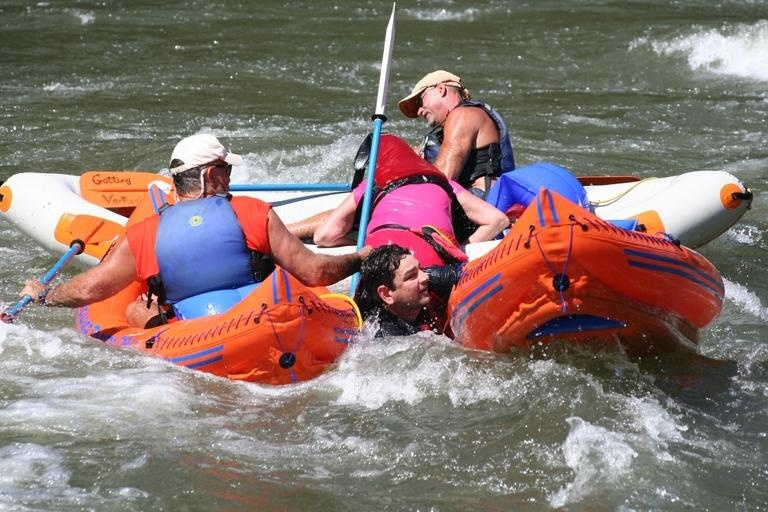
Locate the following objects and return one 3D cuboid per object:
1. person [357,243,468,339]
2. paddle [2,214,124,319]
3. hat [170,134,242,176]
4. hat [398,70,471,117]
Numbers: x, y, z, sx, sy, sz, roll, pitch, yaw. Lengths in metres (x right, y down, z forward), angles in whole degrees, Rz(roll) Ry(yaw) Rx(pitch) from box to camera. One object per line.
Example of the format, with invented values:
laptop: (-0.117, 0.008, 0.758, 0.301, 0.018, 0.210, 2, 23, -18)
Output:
person: (0.174, 0.312, 9.549, 0.780, 0.892, 0.317, 6, 53, 0)
paddle: (-3.035, 0.103, 10.465, 0.221, 0.214, 1.602, 40, 58, 23)
hat: (-1.545, -0.931, 9.607, 0.606, 0.249, 0.340, -13, 28, -17)
hat: (0.460, -1.843, 11.792, 0.641, 0.253, 0.351, -11, 2, -4)
